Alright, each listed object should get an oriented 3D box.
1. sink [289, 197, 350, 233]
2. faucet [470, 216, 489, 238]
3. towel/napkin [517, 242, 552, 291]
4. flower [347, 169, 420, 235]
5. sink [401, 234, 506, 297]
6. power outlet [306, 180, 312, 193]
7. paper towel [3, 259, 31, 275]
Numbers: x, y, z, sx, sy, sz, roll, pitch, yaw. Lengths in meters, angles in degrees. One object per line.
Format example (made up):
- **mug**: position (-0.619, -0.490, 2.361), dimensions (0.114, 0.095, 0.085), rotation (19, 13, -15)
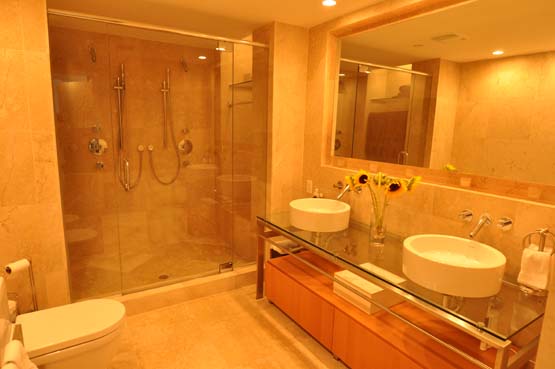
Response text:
- **sink**: position (0.320, 0.277, 3.705), dimensions (0.373, 0.118, 0.359), rotation (-3, 9, -26)
- **faucet**: position (1.494, 0.313, 3.091), dimensions (0.146, 0.080, 0.077), rotation (-47, 32, -11)
- **towel/napkin**: position (1.709, 0.541, 2.780), dimensions (0.208, 0.273, 0.111), rotation (9, 4, 42)
- **flower**: position (0.825, 0.115, 3.497), dimensions (0.558, 0.463, 0.537), rotation (-5, 10, -30)
- **sink**: position (1.219, 0.563, 2.938), dimensions (0.667, 0.250, 0.525), rotation (8, 14, 26)
- **power outlet**: position (0.327, 0.019, 4.341), dimensions (0.017, 0.159, 0.122), rotation (-4, 8, -31)
- **paper towel**: position (-1.954, 0.609, 3.168), dimensions (0.134, 0.113, 0.225), rotation (-4, 14, -20)
